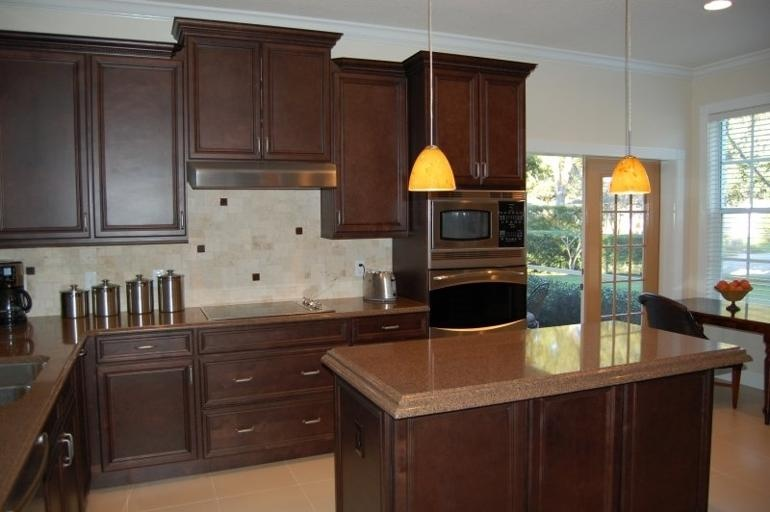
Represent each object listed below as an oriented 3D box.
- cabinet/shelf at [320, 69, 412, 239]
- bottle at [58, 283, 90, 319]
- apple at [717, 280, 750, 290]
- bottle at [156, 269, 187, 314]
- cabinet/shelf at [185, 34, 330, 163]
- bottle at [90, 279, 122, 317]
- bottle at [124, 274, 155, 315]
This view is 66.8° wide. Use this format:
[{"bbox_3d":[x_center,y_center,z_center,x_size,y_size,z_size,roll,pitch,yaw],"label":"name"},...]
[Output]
[{"bbox_3d":[-0.250,-0.888,5.162,0.839,1.477,0.559,-9,17,-35],"label":"cabinet/shelf"},{"bbox_3d":[-2.450,0.348,4.591,0.224,0.240,0.219,-3,7,-35],"label":"bottle"},{"bbox_3d":[3.285,0.274,5.479,0.273,0.082,0.200,-3,4,7],"label":"apple"},{"bbox_3d":[-1.743,0.279,4.743,0.209,0.325,0.238,3,6,40],"label":"bottle"},{"bbox_3d":[-1.077,-1.295,4.845,1.201,1.014,0.448,-5,16,-28],"label":"cabinet/shelf"},{"bbox_3d":[-2.200,0.323,4.602,0.206,0.277,0.228,4,10,31],"label":"bottle"},{"bbox_3d":[-1.968,0.306,4.658,0.205,0.306,0.217,-4,4,0],"label":"bottle"}]
